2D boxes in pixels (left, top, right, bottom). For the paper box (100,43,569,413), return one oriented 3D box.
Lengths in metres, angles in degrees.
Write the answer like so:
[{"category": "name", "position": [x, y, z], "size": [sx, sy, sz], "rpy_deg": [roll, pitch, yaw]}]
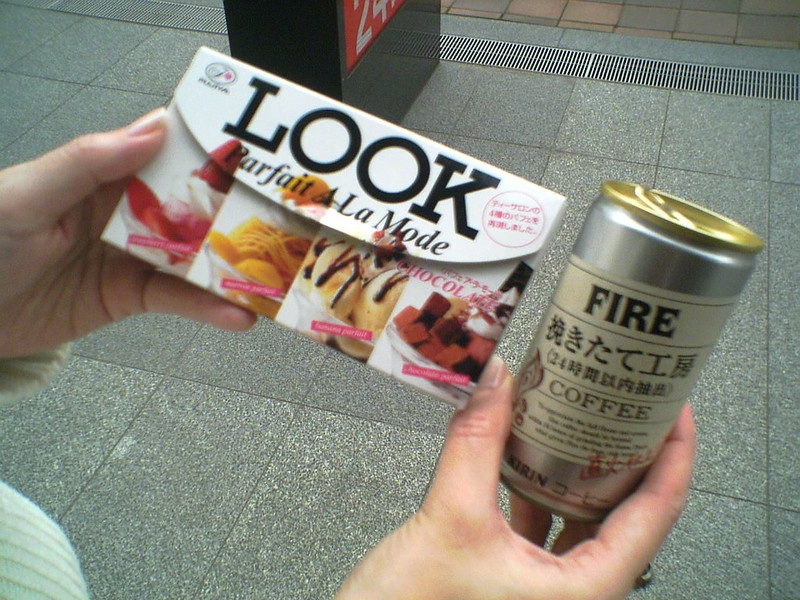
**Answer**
[{"category": "paper box", "position": [-0.115, -0.126, 0.912], "size": [0.656, 0.190, 0.326], "rpy_deg": [25, 63, 9]}]
